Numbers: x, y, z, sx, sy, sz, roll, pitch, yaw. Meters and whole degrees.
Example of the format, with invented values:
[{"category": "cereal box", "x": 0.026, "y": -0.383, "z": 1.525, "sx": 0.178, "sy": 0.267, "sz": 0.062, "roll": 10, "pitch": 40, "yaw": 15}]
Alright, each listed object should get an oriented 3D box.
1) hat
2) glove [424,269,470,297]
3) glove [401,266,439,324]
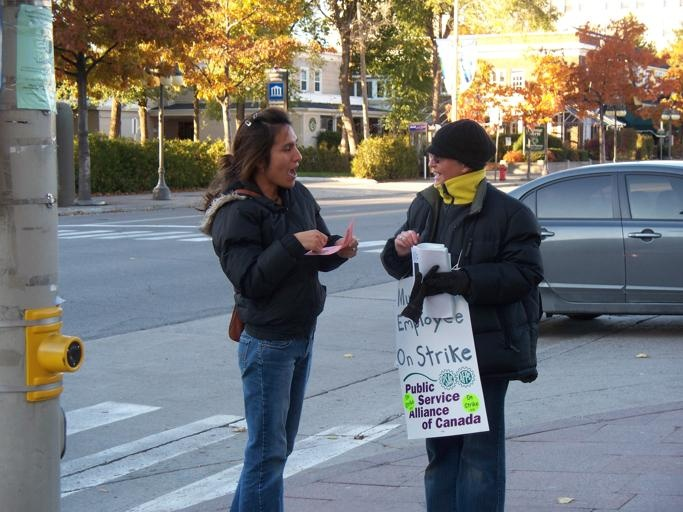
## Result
[{"category": "hat", "x": 0.685, "y": -0.627, "z": 5.982, "sx": 0.364, "sy": 0.222, "sz": 0.247, "roll": 16, "pitch": 11, "yaw": 9}, {"category": "glove", "x": 0.575, "y": 0.149, "z": 5.746, "sx": 0.199, "sy": 0.146, "sz": 0.074, "roll": -6, "pitch": 26, "yaw": 4}, {"category": "glove", "x": 0.442, "y": 0.225, "z": 5.811, "sx": 0.101, "sy": 0.124, "sz": 0.300, "roll": -7, "pitch": -28, "yaw": -6}]
